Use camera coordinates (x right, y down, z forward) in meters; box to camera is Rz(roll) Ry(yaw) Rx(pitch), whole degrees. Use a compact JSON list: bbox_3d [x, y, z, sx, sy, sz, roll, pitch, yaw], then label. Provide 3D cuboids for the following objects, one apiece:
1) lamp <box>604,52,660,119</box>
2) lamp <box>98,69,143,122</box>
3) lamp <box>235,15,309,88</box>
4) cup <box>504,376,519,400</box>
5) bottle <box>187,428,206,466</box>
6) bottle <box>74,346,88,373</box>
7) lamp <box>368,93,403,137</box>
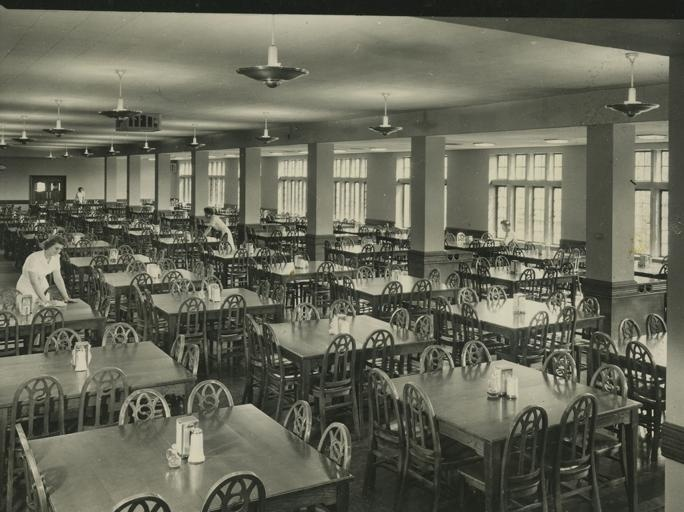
[{"bbox_3d":[3.074,-1.818,7.342,0.548,0.641,0.534,-14,19,-22],"label":"lamp"},{"bbox_3d":[-2.901,-2.116,9.077,0.529,0.617,0.537,5,20,1],"label":"lamp"},{"bbox_3d":[-0.573,-1.724,5.856,0.627,0.625,0.625,-1,10,-18],"label":"lamp"},{"bbox_3d":[1.341,1.008,5.381,0.171,0.170,0.088,0,1,-44],"label":"cup"},{"bbox_3d":[-0.946,1.203,4.485,0.110,0.226,0.182,0,1,-11],"label":"bottle"},{"bbox_3d":[-2.147,0.838,5.705,0.114,0.204,0.085,0,1,-20],"label":"bottle"},{"bbox_3d":[0.707,-2.290,11.225,0.572,0.670,0.557,-8,19,-21],"label":"lamp"}]
